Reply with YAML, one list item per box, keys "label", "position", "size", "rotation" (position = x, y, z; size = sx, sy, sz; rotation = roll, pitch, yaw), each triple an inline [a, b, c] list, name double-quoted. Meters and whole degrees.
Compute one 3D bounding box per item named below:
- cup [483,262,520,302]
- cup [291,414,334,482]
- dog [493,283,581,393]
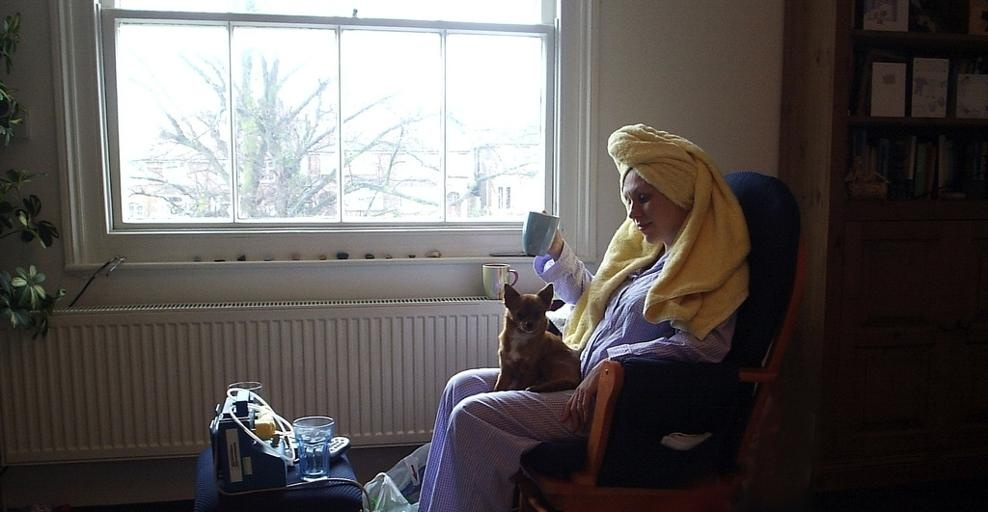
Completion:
- label: "cup"
  position: [0.023, 0.148, 4.186]
  size: [0.231, 0.172, 0.164]
  rotation: [-1, 1, -4]
- label: "cup"
  position: [-0.820, 0.877, 3.443]
  size: [0.271, 0.283, 0.252]
  rotation: [1, -4, 0]
- label: "dog"
  position: [0.211, 0.384, 3.455]
  size: [0.420, 0.483, 0.407]
  rotation: [0, -2, 28]
